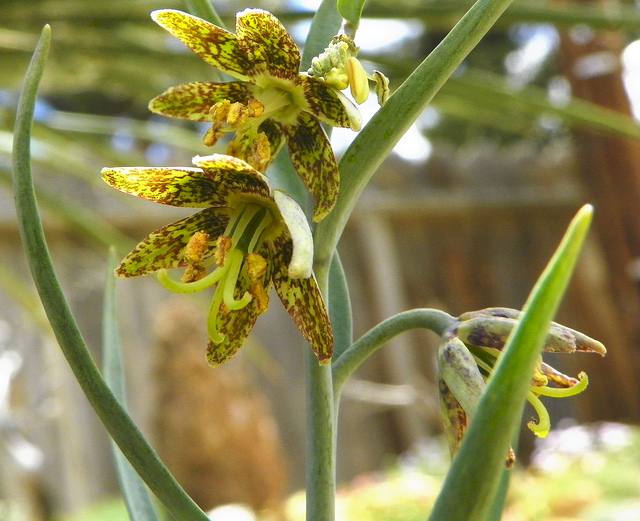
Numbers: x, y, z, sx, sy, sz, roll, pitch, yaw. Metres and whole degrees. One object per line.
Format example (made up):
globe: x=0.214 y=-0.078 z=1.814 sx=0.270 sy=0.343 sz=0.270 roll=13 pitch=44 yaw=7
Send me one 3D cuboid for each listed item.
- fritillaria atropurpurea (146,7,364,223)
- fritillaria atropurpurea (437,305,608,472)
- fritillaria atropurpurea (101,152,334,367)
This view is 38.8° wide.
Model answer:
fritillaria atropurpurea: x=-0.082 y=-0.285 z=1.519 sx=0.366 sy=0.159 sz=0.340 roll=36 pitch=-50 yaw=4
fritillaria atropurpurea: x=0.305 y=0.201 z=1.471 sx=0.264 sy=0.247 sz=0.186 roll=7 pitch=-26 yaw=-20
fritillaria atropurpurea: x=-0.161 y=0.007 z=1.436 sx=0.340 sy=0.299 sz=0.216 roll=-4 pitch=-25 yaw=4
